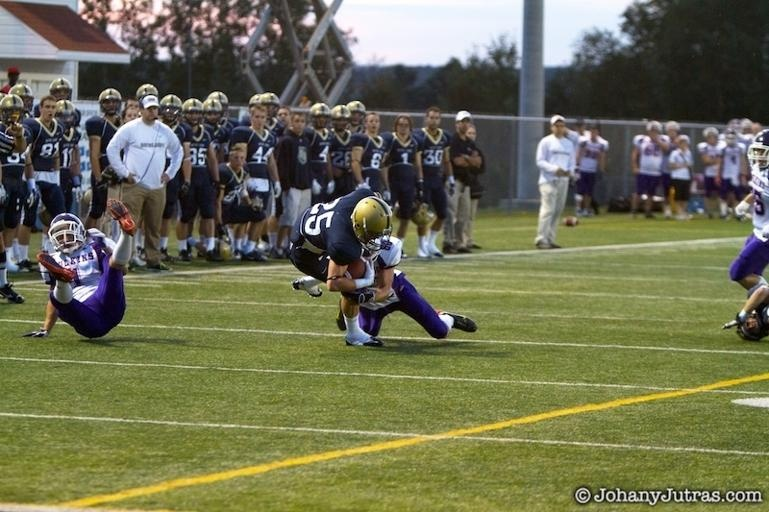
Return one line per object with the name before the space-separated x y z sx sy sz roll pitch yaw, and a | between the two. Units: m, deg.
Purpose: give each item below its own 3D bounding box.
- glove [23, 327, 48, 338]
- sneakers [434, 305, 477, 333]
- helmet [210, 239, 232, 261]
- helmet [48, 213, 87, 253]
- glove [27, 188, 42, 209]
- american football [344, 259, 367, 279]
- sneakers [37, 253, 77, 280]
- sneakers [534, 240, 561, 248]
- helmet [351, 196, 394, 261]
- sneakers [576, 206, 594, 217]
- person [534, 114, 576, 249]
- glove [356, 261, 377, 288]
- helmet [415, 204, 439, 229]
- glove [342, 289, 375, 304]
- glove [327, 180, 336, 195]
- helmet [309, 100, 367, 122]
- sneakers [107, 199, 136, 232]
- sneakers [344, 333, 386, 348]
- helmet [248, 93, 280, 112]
glove | -3.406 0.750 10.535 0.285 0.094 0.088 3 -3 -4
sneakers | 0.761 0.654 10.736 0.490 0.179 0.154 21 -21 12
helmet | -2.469 -0.089 16.328 0.360 0.304 0.234 0 7 -2
helmet | -3.064 -0.212 10.390 0.324 0.321 0.404 -5 -9 0
glove | -4.736 -0.795 14.427 0.199 0.235 0.086 0 18 -24
american football | -0.270 0.111 9.976 0.136 0.167 0.098 33 9 -1
sneakers | -2.989 0.099 9.766 0.186 0.154 0.450 -25 26 -22
sneakers | 2.840 -0.210 18.563 0.462 0.164 0.140 0 8 13
helmet | -0.128 -0.246 9.756 0.351 0.604 0.480 1 11 -1
sneakers | 4.855 -1.062 25.928 0.193 0.218 0.549 -6 -5 21
person | 2.922 -1.247 18.312 0.642 2.281 0.657 2 11 7
glove | -0.173 0.177 10.014 0.123 0.242 0.345 4 11 14
helmet | 0.598 -0.652 16.838 0.290 0.204 0.390 -37 21 -3
glove | -0.238 0.356 10.009 0.228 0.095 0.167 11 12 33
glove | -0.812 -1.076 16.472 0.071 0.173 0.139 8 18 31
helmet | -0.761 -2.272 16.536 0.441 0.200 0.570 -2 3 -43
sneakers | -2.404 -0.357 9.990 0.223 0.158 0.436 -39 34 -20
sneakers | -0.186 0.822 10.499 0.414 0.148 0.130 -3 1 10
helmet | -1.829 -2.369 16.294 0.317 0.260 0.386 -2 0 -28
